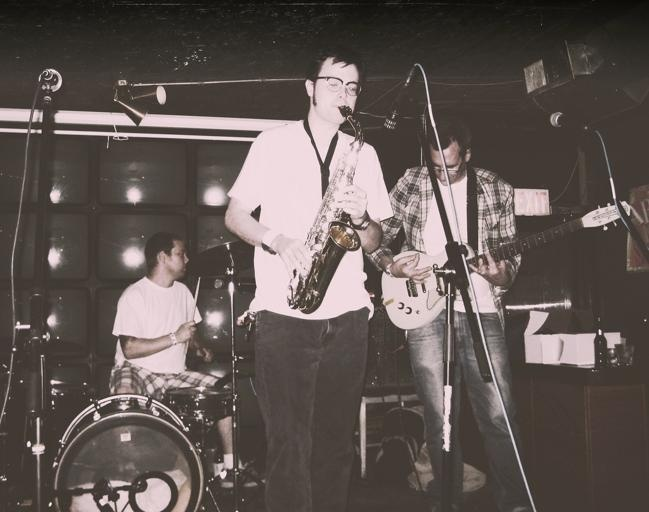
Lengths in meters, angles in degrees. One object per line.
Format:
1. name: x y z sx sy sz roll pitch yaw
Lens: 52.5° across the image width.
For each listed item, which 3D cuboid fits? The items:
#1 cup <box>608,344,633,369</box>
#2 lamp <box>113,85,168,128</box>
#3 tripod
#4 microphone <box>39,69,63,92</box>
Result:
1. cup: 1.924 0.639 4.302 0.145 0.153 0.143 1 0 0
2. lamp: -1.308 -1.072 4.549 0.400 0.273 0.302 -12 -2 -35
3. tripod: -0.589 0.974 4.363 0.419 1.242 0.453 3 2 -7
4. microphone: -1.516 -0.971 3.659 0.115 0.163 0.131 0 0 2
